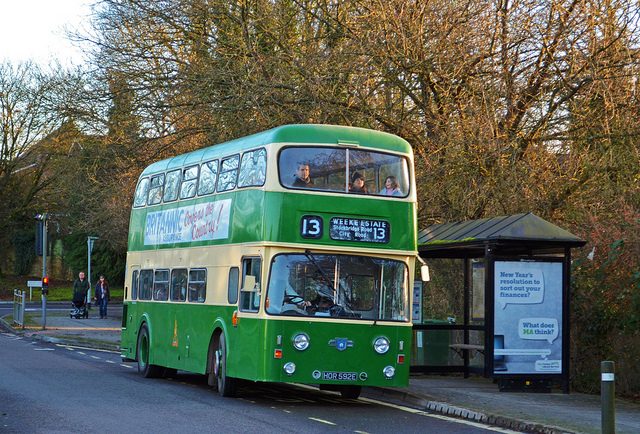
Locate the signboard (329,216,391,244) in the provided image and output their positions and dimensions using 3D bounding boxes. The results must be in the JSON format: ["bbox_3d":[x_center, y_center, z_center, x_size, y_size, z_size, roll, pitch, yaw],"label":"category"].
[{"bbox_3d":[0.863,0.251,14.348,1.639,0.710,0.071,4,-7,27],"label":"signboard"}]

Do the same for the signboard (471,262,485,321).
[{"bbox_3d":[4.257,1.984,17.859,0.183,1.513,0.666,2,-9,-6],"label":"signboard"}]

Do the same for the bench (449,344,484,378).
[{"bbox_3d":[3.935,3.913,18.045,0.826,0.900,1.796,-1,-10,11],"label":"bench"}]

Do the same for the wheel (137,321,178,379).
[{"bbox_3d":[-4.796,3.757,18.996,0.531,1.573,1.523,3,-21,-25],"label":"wheel"}]

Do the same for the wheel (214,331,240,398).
[{"bbox_3d":[-2.088,3.309,15.046,0.703,1.808,1.500,-1,-4,-7],"label":"wheel"}]

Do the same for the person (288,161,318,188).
[{"bbox_3d":[-0.382,-0.822,14.546,0.725,0.670,0.440,4,-21,-13],"label":"person"}]

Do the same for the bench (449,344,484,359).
[{"bbox_3d":[3.902,3.655,18.051,0.809,0.392,2.059,2,-10,-5],"label":"bench"}]
